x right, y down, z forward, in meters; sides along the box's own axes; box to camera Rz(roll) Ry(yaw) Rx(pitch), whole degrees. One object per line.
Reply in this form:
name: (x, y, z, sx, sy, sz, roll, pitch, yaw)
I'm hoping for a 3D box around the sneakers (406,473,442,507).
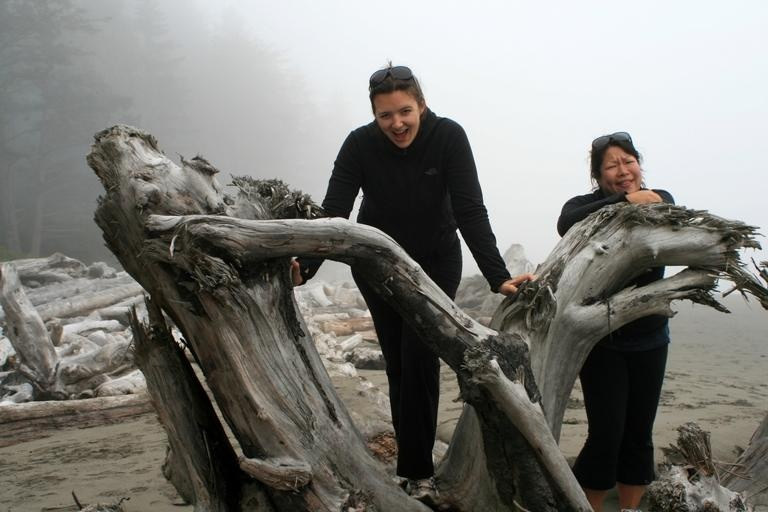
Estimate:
sneakers: (0.292, 1.832, 3.659, 0.222, 0.069, 0.195, 9, 34, -8)
